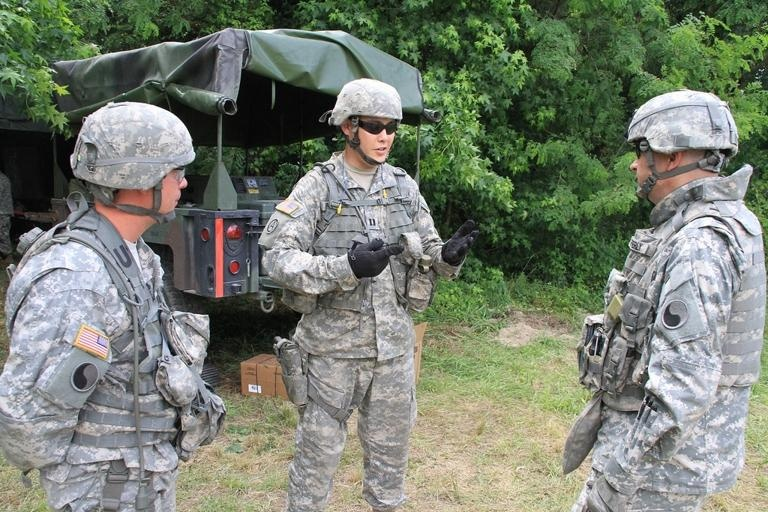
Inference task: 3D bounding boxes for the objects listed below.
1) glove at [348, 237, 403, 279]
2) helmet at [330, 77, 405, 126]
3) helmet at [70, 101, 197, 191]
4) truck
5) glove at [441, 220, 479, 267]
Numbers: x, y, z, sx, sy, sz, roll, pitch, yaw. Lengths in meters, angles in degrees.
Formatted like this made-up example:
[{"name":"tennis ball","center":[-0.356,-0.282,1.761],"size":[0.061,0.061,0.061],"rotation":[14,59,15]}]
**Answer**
[{"name":"glove","center":[-0.066,0.026,5.164],"size":[0.346,0.276,0.151],"rotation":[7,11,-1]},{"name":"helmet","center":[-0.146,-1.077,5.481],"size":[0.355,0.234,0.351],"rotation":[-8,16,-44]},{"name":"helmet","center":[-1.460,-0.646,4.610],"size":[0.557,0.363,0.558],"rotation":[8,19,6]},{"name":"truck","center":[-2.060,-1.547,9.434],"size":[5.109,3.352,3.189],"rotation":[10,10,39]},{"name":"glove","center":[0.540,-0.070,5.471],"size":[0.187,0.357,0.116],"rotation":[49,18,28]}]
